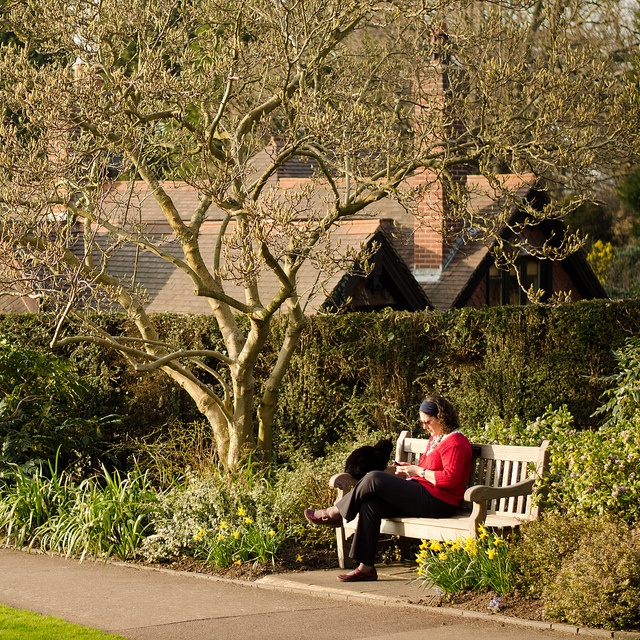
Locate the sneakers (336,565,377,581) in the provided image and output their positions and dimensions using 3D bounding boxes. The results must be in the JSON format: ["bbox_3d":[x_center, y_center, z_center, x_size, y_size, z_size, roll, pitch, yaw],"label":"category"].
[{"bbox_3d":[0.335,2.231,12.149,0.327,0.152,0.136,4,-9,-6],"label":"sneakers"}]

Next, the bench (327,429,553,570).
[{"bbox_3d":[1.051,1.747,12.606,0.881,1.468,2.118,4,-4,-33],"label":"bench"}]

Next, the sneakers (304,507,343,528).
[{"bbox_3d":[0.029,1.795,12.501,0.257,0.112,0.166,23,-4,-5],"label":"sneakers"}]

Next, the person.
[{"bbox_3d":[0.705,1.493,12.342,1.266,1.744,0.547,4,-7,7],"label":"person"}]

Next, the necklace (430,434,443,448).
[{"bbox_3d":[1.051,1.099,12.570,0.077,0.128,0.031,9,28,-9],"label":"necklace"}]

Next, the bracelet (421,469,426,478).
[{"bbox_3d":[0.921,1.362,12.355,0.016,0.064,0.055,7,-4,-24],"label":"bracelet"}]

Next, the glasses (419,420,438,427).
[{"bbox_3d":[0.993,0.909,12.492,0.131,0.068,0.114,7,-7,-4],"label":"glasses"}]
